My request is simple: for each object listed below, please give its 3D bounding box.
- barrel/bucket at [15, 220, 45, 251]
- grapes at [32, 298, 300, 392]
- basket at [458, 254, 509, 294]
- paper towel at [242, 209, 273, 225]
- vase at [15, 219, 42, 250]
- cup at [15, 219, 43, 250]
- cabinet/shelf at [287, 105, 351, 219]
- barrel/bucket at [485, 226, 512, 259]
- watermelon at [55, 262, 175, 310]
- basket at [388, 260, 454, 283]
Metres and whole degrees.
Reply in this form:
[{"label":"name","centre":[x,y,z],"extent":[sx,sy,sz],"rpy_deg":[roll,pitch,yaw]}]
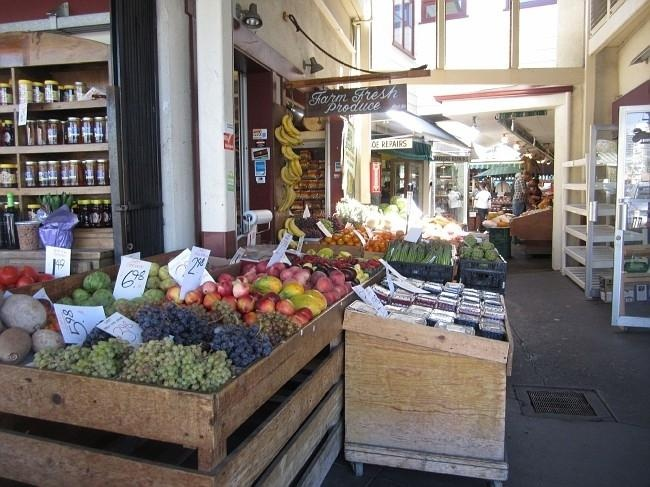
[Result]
[{"label":"barrel/bucket","centre":[-2.681,-0.070,4.369],"extent":[0.239,0.261,0.237],"rpy_deg":[3,7,0]},{"label":"grapes","centre":[-0.785,0.371,2.476],"extent":[0.874,0.381,1.019],"rpy_deg":[3,8,26]},{"label":"basket","centre":[1.541,0.272,4.601],"extent":[0.357,0.227,0.362],"rpy_deg":[2,3,29]},{"label":"paper towel","centre":[-0.729,-0.289,5.239],"extent":[0.138,0.141,0.492],"rpy_deg":[2,1,21]},{"label":"vase","centre":[-2.692,-0.075,4.363],"extent":[0.236,0.260,0.237],"rpy_deg":[2,6,-14]},{"label":"cup","centre":[-2.693,-0.073,4.363],"extent":[0.238,0.261,0.235],"rpy_deg":[4,6,0]},{"label":"cabinet/shelf","centre":[-0.164,-1.607,9.892],"extent":[0.539,1.903,1.101],"rpy_deg":[3,7,14]},{"label":"barrel/bucket","centre":[4.137,-0.019,11.242],"extent":[0.560,0.761,0.339],"rpy_deg":[1,10,7]},{"label":"watermelon","centre":[-1.236,0.254,3.006],"extent":[0.618,0.276,0.492],"rpy_deg":[4,9,16]},{"label":"basket","centre":[0.940,0.254,4.489],"extent":[0.346,0.118,0.246],"rpy_deg":[3,4,29]}]
